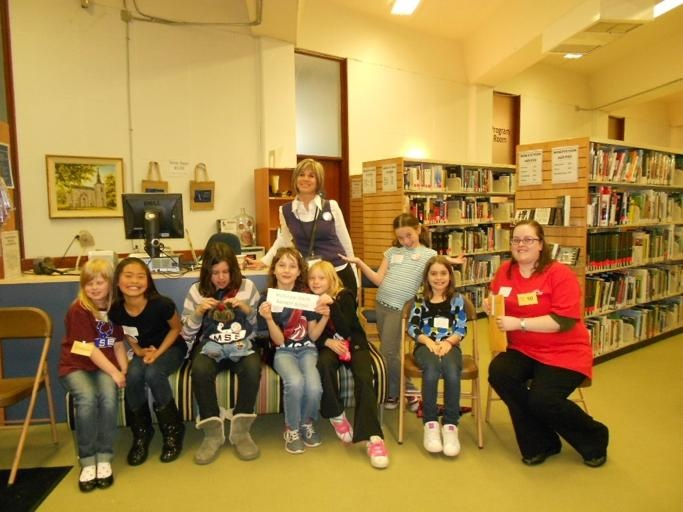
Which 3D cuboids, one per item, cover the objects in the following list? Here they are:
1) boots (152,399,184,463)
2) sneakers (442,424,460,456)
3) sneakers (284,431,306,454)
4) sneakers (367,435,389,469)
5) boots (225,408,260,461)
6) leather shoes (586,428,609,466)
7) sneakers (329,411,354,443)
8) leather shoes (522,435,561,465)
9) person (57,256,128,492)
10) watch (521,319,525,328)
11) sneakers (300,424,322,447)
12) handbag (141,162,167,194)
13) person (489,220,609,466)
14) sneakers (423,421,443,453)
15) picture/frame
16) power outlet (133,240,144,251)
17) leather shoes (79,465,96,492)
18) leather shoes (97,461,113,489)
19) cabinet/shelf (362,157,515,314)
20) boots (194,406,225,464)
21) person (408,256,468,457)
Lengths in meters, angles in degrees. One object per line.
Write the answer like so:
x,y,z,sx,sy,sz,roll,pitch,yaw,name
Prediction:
-1.271,1.266,3.927,0.199,0.431,0.204,-3,9,-20,boots
0.796,1.351,3.888,0.099,0.102,0.263,-2,8,7,sneakers
-0.339,1.378,3.944,0.100,0.083,0.204,1,-3,-15,sneakers
0.266,1.398,3.873,0.158,0.188,0.230,1,8,5,sneakers
-0.724,1.313,3.952,0.182,0.287,0.399,3,6,-29,boots
1.875,1.359,3.858,0.273,0.264,0.102,-7,11,-39,leather shoes
-0.014,1.270,4.080,0.114,0.120,0.302,-17,24,-19,sneakers
1.486,1.425,3.954,0.383,0.146,0.126,-6,2,-33,leather shoes
-1.745,0.808,3.750,0.431,1.515,0.530,-4,9,-25,person
1.335,0.496,3.926,0.020,0.056,0.058,-1,-1,10,watch
-0.248,1.364,4.073,0.095,0.095,0.227,-1,0,-27,sneakers
-2.248,-0.959,6.383,0.121,0.358,0.315,8,11,43,handbag
1.502,0.614,3.920,0.916,1.722,0.550,4,10,28,person
0.686,1.336,3.983,0.142,0.222,0.241,1,8,9,sneakers
-2.918,-0.794,5.958,0.856,0.744,0.065,-5,7,-36,picture/frame
-2.368,-0.125,6.223,0.149,0.129,0.033,-1,-1,-39,power outlet
-1.739,1.514,3.636,0.106,0.146,0.104,-4,9,-23,leather shoes
-1.629,1.505,3.664,0.075,0.078,0.204,3,18,-28,leather shoes
1.055,-0.250,6.075,2.284,1.938,0.724,-3,4,-40,cabinet/shelf
-0.984,1.341,3.920,0.164,0.286,0.434,-3,3,6,boots
0.713,0.715,4.072,0.459,1.369,0.616,2,9,13,person
